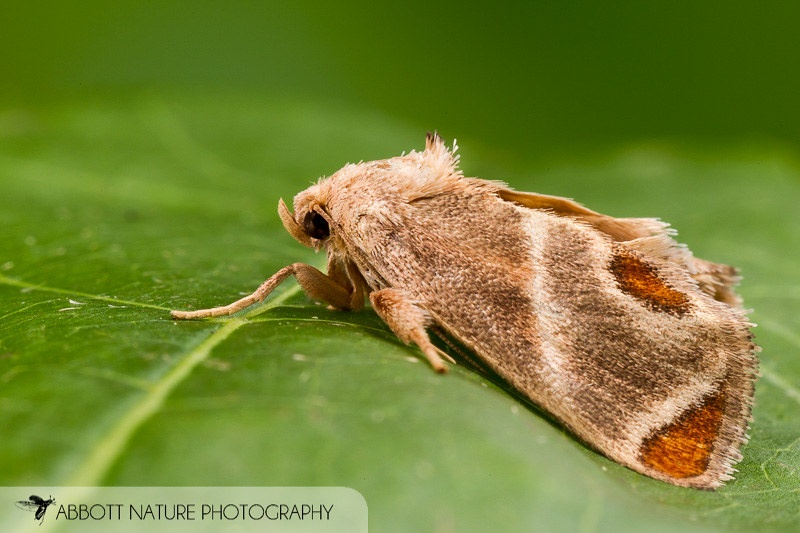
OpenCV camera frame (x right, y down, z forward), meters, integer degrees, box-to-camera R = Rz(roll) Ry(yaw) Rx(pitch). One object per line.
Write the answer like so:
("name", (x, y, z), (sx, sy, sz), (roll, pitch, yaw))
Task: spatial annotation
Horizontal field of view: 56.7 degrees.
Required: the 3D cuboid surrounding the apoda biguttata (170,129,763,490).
("apoda biguttata", (0.325, 0.099, 1.995), (1.361, 0.437, 0.682), (28, 49, 9))
